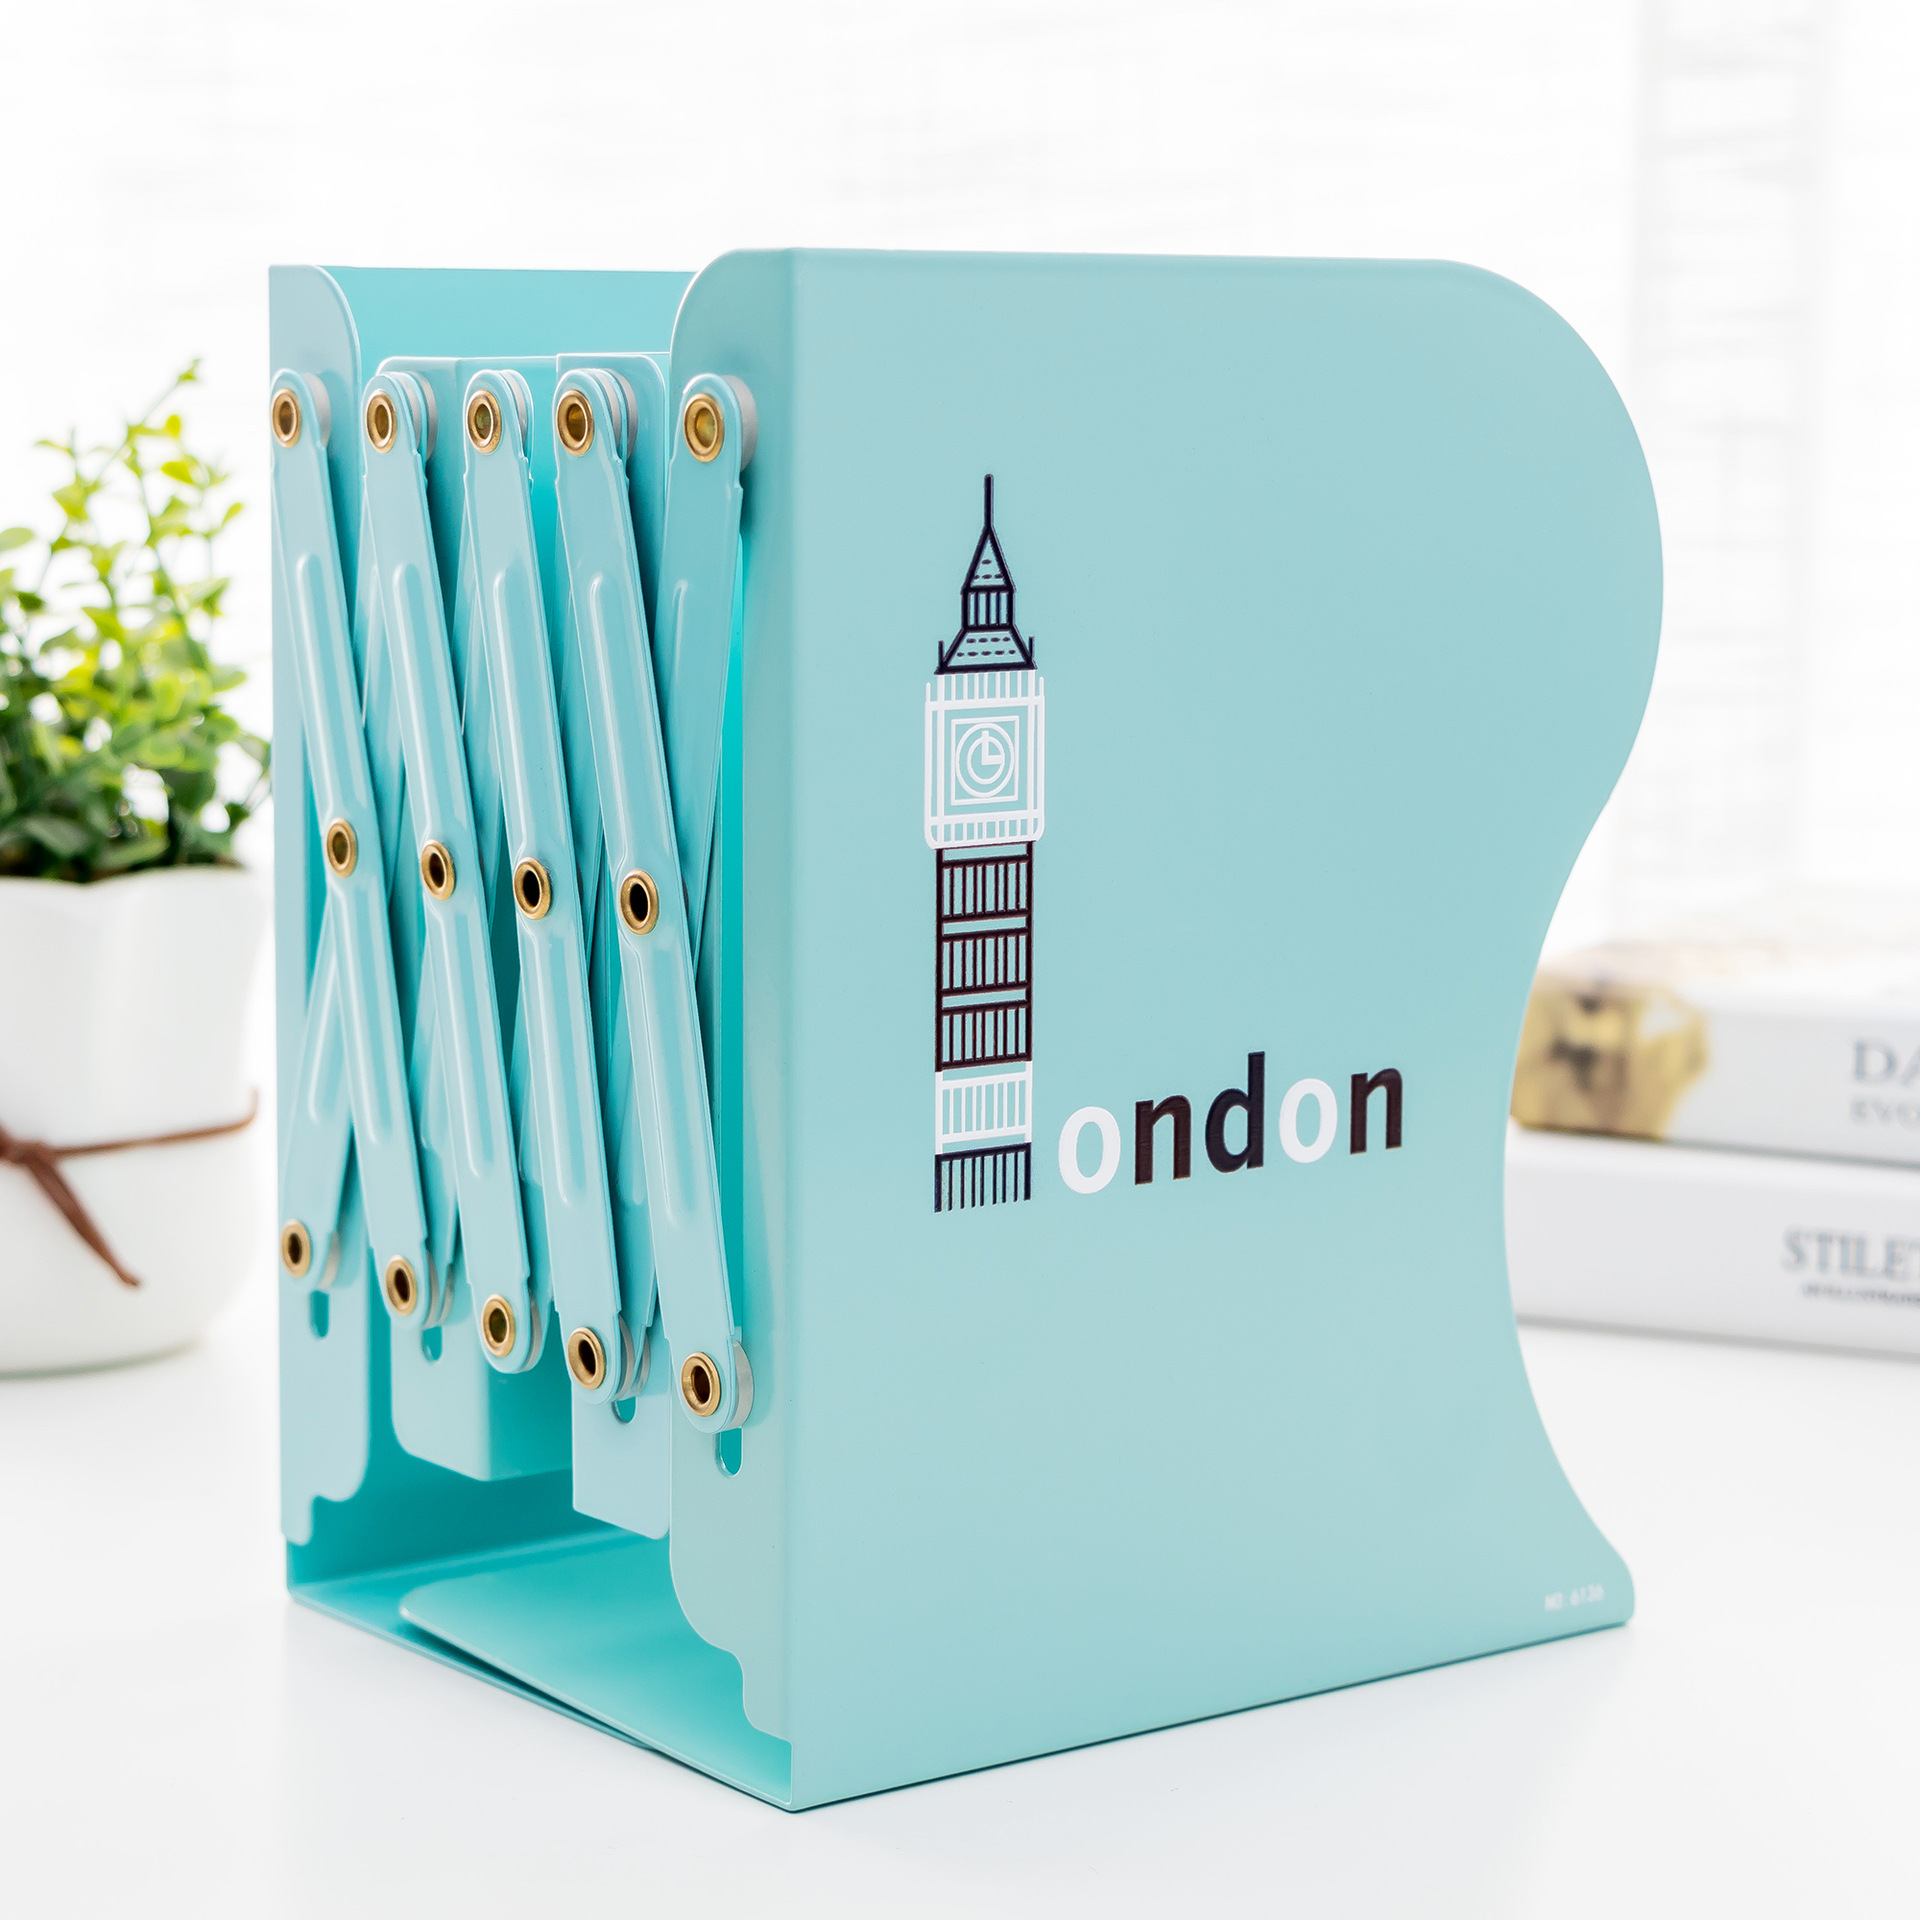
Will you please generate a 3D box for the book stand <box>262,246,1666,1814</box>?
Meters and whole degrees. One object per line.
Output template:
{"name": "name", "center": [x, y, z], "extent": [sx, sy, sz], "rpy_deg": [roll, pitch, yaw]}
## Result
{"name": "book stand", "center": [-0.025, -0.002, 0.621], "extent": [0.180, 0.303, 0.244], "rpy_deg": [6, 9, 36]}
